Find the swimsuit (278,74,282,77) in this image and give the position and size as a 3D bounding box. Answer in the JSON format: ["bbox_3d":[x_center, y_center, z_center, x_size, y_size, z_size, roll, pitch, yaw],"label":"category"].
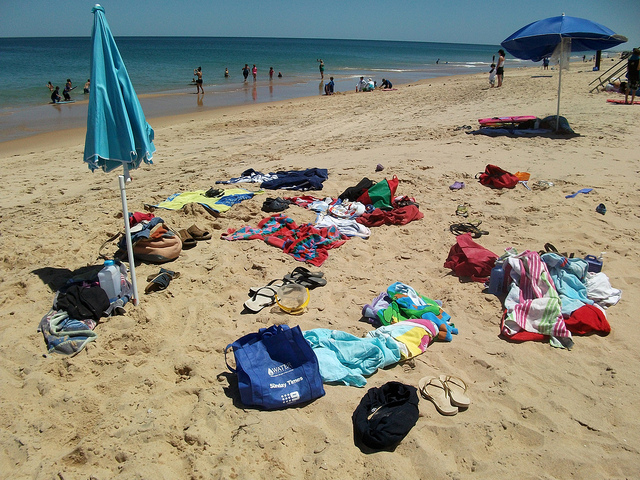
[{"bbox_3d":[-2.719,-10.749,38.639,0.362,0.152,0.434,0,14,-2],"label":"swimsuit"}]

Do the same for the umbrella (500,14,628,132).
[{"bbox_3d":[6.173,-4.193,14.773,2.439,2.291,2.354,3,1,12],"label":"umbrella"}]

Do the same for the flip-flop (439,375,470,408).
[{"bbox_3d":[1.761,1.928,7.485,0.207,0.126,0.489,-7,28,-6],"label":"flip-flop"}]

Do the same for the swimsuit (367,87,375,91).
[{"bbox_3d":[2.549,-7.241,28.438,0.268,0.155,0.622,7,20,22],"label":"swimsuit"}]

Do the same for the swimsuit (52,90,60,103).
[{"bbox_3d":[-11.484,-6.084,25.114,0.246,0.523,0.437,-10,23,-19],"label":"swimsuit"}]

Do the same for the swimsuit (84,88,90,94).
[{"bbox_3d":[-11.057,-6.918,27.517,0.284,0.250,0.269,-4,12,-34],"label":"swimsuit"}]

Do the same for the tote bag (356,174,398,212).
[{"bbox_3d":[1.127,-0.817,11.009,0.823,0.501,0.679,-4,20,-8],"label":"tote bag"}]

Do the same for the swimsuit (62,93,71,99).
[{"bbox_3d":[-11.471,-6.348,26.168,0.179,0.234,0.400,1,19,8],"label":"swimsuit"}]

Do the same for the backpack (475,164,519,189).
[{"bbox_3d":[3.622,-1.227,11.873,0.644,0.233,0.562,12,27,-3],"label":"backpack"}]

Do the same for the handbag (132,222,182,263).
[{"bbox_3d":[-2.732,0.026,9.708,0.932,0.367,0.997,-8,20,-32],"label":"handbag"}]

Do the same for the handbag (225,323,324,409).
[{"bbox_3d":[-0.592,1.608,7.522,1.016,0.820,0.802,-8,21,-16],"label":"handbag"}]

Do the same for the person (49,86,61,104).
[{"bbox_3d":[-11.574,-6.142,25.208,0.509,0.680,1.111,-11,21,-22],"label":"person"}]

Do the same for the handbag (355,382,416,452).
[{"bbox_3d":[0.828,2.168,7.182,0.621,0.267,0.783,12,33,28],"label":"handbag"}]
